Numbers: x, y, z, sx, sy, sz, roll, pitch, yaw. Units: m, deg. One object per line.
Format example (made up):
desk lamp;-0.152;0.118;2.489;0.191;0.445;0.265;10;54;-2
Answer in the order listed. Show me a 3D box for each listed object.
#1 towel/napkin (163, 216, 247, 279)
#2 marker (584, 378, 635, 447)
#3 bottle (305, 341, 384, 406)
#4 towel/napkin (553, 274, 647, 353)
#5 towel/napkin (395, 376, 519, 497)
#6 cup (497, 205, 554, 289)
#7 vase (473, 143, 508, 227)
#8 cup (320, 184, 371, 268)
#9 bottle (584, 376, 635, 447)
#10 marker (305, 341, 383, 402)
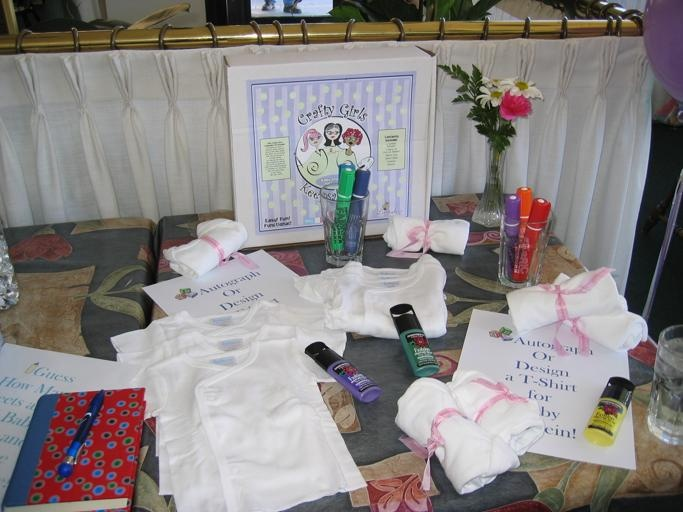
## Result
towel/napkin;-0.277;-0.020;1.041;0.116;0.056;0.148;28;46;35
marker;0.399;0.226;0.725;0.038;0.052;0.109;22;36;35
bottle;-0.001;0.180;0.787;0.044;0.023;0.136;-21;40;-40
towel/napkin;0.450;0.100;0.879;0.104;0.093;0.117;6;28;10
towel/napkin;0.157;0.243;0.686;0.095;0.086;0.153;-20;34;-30
cup;0.362;-0.022;1.008;0.089;0.170;0.085;2;32;-1
vase;0.339;-0.167;1.177;0.086;0.179;0.065;0;31;0
cup;0.009;-0.063;1.028;0.135;0.182;0.129;-1;27;0
bottle;0.398;0.231;0.724;0.105;0.041;0.042;-48;8;-37
marker;0.002;0.187;0.784;0.088;0.044;0.079;-13;27;-37
